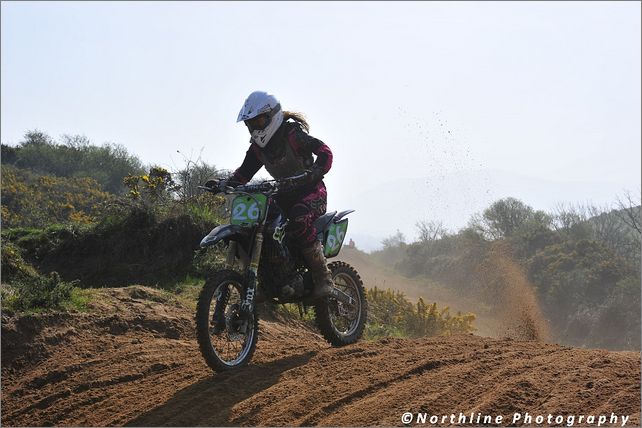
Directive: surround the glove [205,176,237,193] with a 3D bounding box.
[{"bbox_3d":[-1.720,-0.518,8.372,0.482,0.336,0.256,2,4,-1],"label":"glove"}]
